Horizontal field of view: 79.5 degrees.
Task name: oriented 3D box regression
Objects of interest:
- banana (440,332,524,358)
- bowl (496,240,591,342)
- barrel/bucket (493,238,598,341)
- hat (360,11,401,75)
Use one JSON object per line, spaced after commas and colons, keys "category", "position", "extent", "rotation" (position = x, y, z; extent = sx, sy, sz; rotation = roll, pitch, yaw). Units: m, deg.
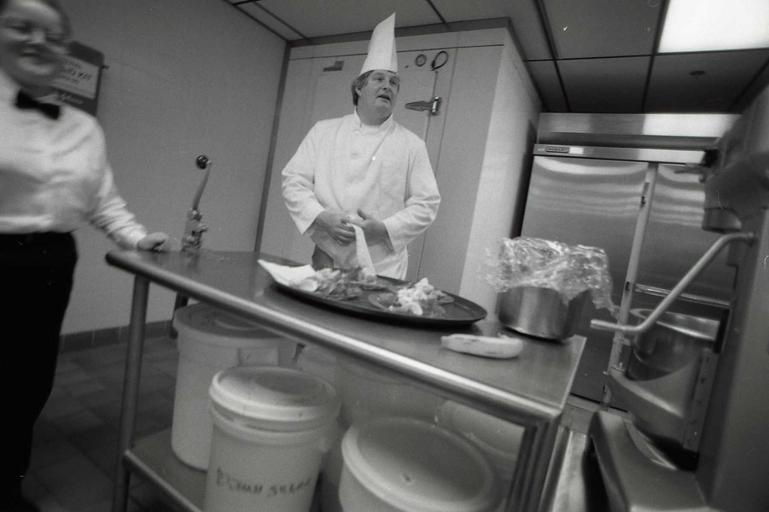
{"category": "banana", "position": [0.274, 0.234, 1.251], "extent": [0.183, 0.046, 0.090], "rotation": [6, 6, 2]}
{"category": "bowl", "position": [0.533, 0.187, 1.580], "extent": [0.228, 0.152, 0.225], "rotation": [7, 1, 0]}
{"category": "barrel/bucket", "position": [0.516, 0.098, 1.503], "extent": [0.320, 0.191, 0.315], "rotation": [1, 2, 0]}
{"category": "hat", "position": [-0.023, -1.116, 2.434], "extent": [0.179, 0.360, 0.276], "rotation": [6, 7, -5]}
